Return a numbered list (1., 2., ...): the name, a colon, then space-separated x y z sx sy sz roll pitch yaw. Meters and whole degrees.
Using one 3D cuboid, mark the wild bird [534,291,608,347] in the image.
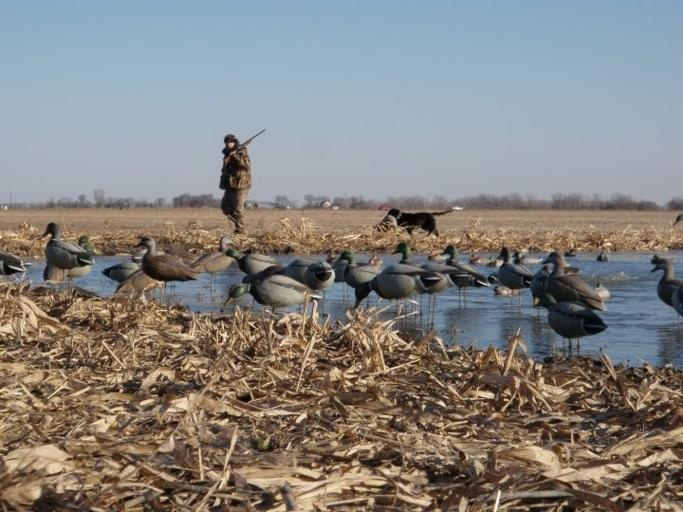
1. wild bird: 3.276 1.015 13.006 0.441 0.653 0.958 0 5 -20
